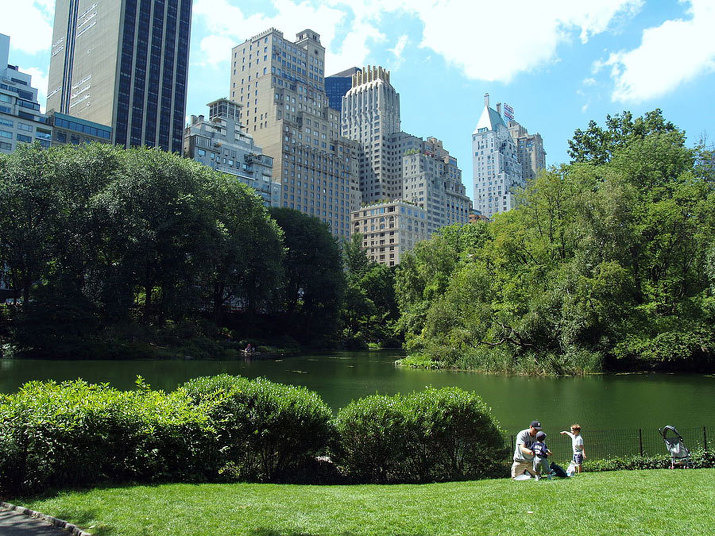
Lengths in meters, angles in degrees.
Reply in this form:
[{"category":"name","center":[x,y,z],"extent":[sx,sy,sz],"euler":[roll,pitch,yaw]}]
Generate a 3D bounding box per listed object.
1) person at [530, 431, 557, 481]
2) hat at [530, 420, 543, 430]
[{"category":"person","center":[9.785,9.822,46.467],"extent":[1.026,2.219,1.023],"euler":[0,13,-1]},{"category":"hat","center":[9.473,8.279,46.820],"extent":[0.556,0.378,0.406],"euler":[-3,4,-38]}]
